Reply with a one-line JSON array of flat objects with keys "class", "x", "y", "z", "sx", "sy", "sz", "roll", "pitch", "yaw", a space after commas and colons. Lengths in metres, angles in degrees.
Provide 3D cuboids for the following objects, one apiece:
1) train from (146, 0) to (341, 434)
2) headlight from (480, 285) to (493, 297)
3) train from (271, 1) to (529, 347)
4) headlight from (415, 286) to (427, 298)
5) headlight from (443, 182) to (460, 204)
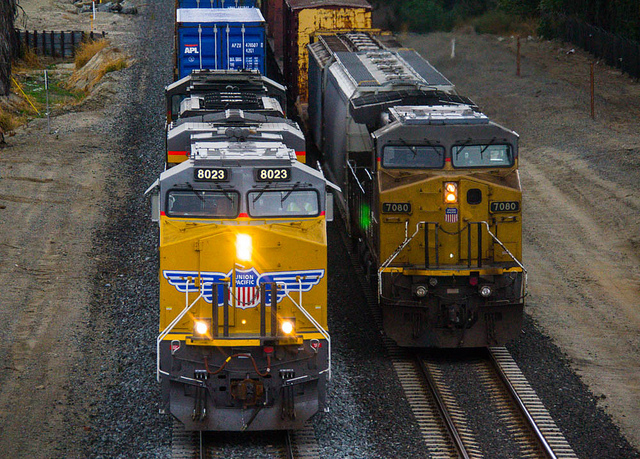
[{"class": "train", "x": -2.391, "y": -2.045, "z": 24.359, "sx": 4.260, "sy": 5.672, "sz": 17.828, "roll": -1, "pitch": 25, "yaw": -4}, {"class": "headlight", "x": 4.402, "y": 1.600, "z": 20.299, "sx": 0.324, "sy": 0.263, "sz": 0.176, "roll": -2, "pitch": 31, "yaw": -4}, {"class": "train", "x": 1.728, "y": -5.139, "z": 29.825, "sx": 3.937, "sy": 6.046, "sz": 23.484, "roll": -2, "pitch": 25, "yaw": -5}, {"class": "headlight", "x": 2.680, "y": 1.630, "z": 20.344, "sx": 0.319, "sy": 0.267, "sz": 0.144, "roll": -3, "pitch": 30, "yaw": -5}, {"class": "headlight", "x": 3.459, "y": -0.978, "z": 20.327, "sx": 0.375, "sy": 0.534, "sz": 0.522, "roll": 1, "pitch": 7, "yaw": 10}]
